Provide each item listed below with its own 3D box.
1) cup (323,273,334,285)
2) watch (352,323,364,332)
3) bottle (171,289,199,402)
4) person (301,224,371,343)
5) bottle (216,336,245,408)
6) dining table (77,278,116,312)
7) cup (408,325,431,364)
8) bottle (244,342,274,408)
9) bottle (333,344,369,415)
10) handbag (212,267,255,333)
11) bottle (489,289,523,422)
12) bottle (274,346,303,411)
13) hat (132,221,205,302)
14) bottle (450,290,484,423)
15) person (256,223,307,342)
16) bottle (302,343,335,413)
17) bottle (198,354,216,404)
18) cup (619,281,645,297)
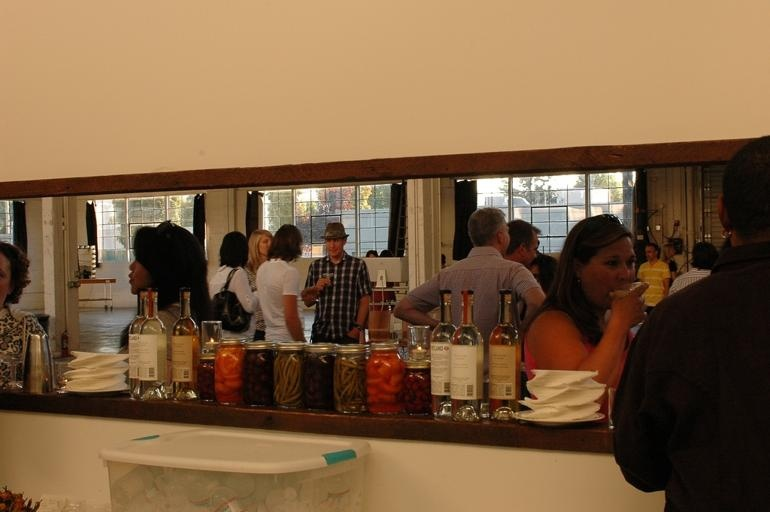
[{"bbox_3d":[-0.391,0.157,5.307,0.071,0.080,0.074,-1,2,0],"label":"cup"},{"bbox_3d":[-0.185,0.475,5.124,0.044,0.031,0.059,9,-26,-27],"label":"watch"},{"bbox_3d":[-0.785,0.336,2.970,0.130,0.418,0.168,-8,11,-22],"label":"bottle"},{"bbox_3d":[-0.345,0.188,5.291,0.469,0.843,0.614,-5,10,-2],"label":"person"},{"bbox_3d":[-0.585,0.434,2.857,0.127,0.236,0.100,-5,10,-6],"label":"bottle"},{"bbox_3d":[-6.974,0.900,18.520,1.254,0.844,0.557,-2,10,13],"label":"dining table"},{"bbox_3d":[0.115,0.308,2.679,0.082,0.123,0.062,-4,10,2],"label":"cup"},{"bbox_3d":[-0.466,0.435,2.813,0.124,0.240,0.065,-6,10,-12],"label":"bottle"},{"bbox_3d":[-0.124,0.438,2.717,0.128,0.246,0.069,-5,10,-6],"label":"bottle"},{"bbox_3d":[-0.955,0.285,4.768,0.238,0.410,0.168,-7,10,-14],"label":"handbag"},{"bbox_3d":[0.401,0.339,2.630,0.109,0.446,0.137,-3,10,6],"label":"bottle"},{"bbox_3d":[-0.351,0.434,2.793,0.125,0.238,0.051,-5,10,-6],"label":"bottle"},{"bbox_3d":[-0.890,0.005,3.213,0.323,0.449,0.309,2,3,-1],"label":"hat"},{"bbox_3d":[0.271,0.334,2.630,0.116,0.457,0.175,-3,10,5],"label":"bottle"},{"bbox_3d":[-0.656,0.183,4.826,0.317,0.729,0.439,-6,10,-9],"label":"person"},{"bbox_3d":[-0.235,0.436,2.751,0.121,0.241,0.077,-5,10,-3],"label":"bottle"},{"bbox_3d":[-0.685,0.465,2.930,0.076,0.169,0.071,-4,10,1],"label":"bottle"},{"bbox_3d":[0.880,0.116,2.718,0.060,0.059,0.048,-8,-7,42],"label":"cup"}]
